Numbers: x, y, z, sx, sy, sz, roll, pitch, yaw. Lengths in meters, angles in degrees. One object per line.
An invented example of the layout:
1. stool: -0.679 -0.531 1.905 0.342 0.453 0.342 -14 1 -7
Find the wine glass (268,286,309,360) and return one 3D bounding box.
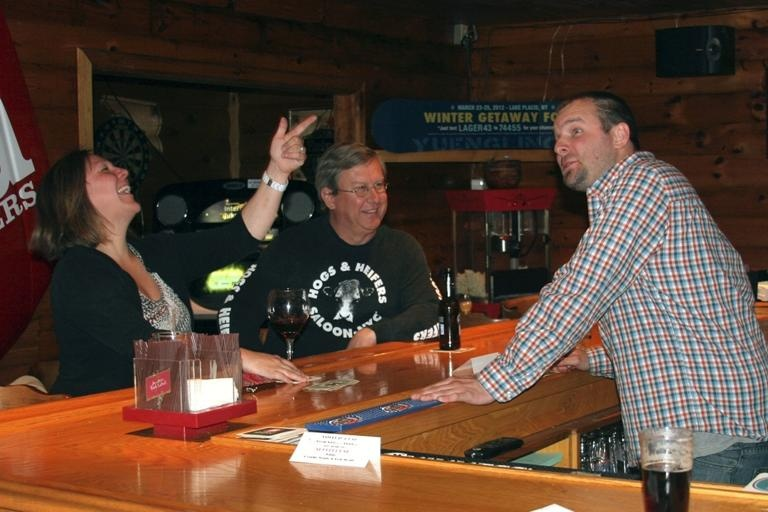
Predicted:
1. wine glass: -0.353 0.250 2.531 0.144 0.277 0.194 -5 8 -23

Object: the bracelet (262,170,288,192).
1. bracelet: -0.447 -0.297 2.878 0.100 0.032 0.085 12 -24 16

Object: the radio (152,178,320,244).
1. radio: -1.272 -0.312 5.235 1.270 0.428 0.829 -3 5 -27

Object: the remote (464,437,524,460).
1. remote: 0.330 0.571 2.098 0.213 0.036 0.093 -1 2 -42

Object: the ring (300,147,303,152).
1. ring: -0.336 -0.430 2.848 0.006 0.016 0.021 -25 -22 39

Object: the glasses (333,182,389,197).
1. glasses: -0.127 -0.329 3.397 0.132 0.029 0.131 -11 -8 41

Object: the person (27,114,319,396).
1. person: -0.881 -0.020 2.749 0.685 1.005 0.834 5 10 39
